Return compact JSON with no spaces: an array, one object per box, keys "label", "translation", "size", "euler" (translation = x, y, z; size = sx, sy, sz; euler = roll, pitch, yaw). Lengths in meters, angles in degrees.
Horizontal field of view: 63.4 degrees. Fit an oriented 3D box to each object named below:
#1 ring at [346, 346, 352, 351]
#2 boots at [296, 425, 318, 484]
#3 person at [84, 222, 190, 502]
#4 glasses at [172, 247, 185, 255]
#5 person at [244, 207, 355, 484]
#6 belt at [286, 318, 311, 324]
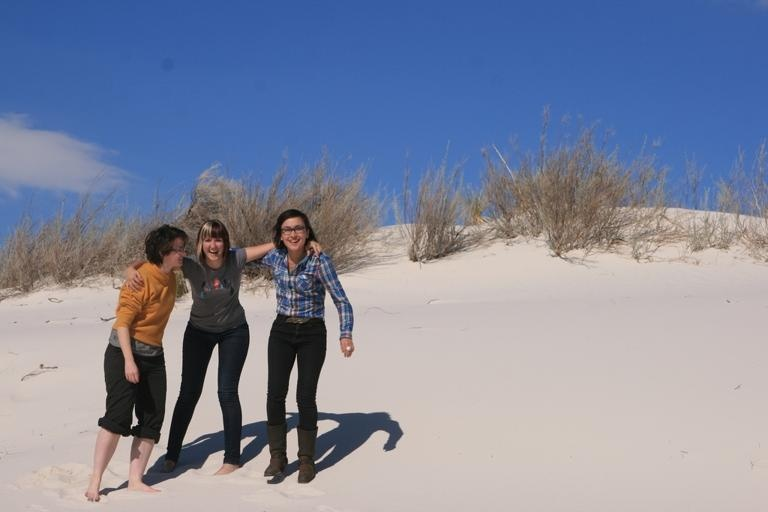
[{"label":"ring","translation":[-0.333,0.911,6.140],"size":[0.035,0.054,0.089],"euler":[0,-3,33]},{"label":"boots","translation":[-0.771,1.981,6.243],"size":[0.178,0.544,0.199],"euler":[1,-2,-5]},{"label":"person","translation":[-2.382,1.003,6.050],"size":[0.853,2.633,0.515],"euler":[1,-2,-12]},{"label":"glasses","translation":[-1.991,-0.053,6.024],"size":[0.064,0.022,0.071],"euler":[2,-31,-6]},{"label":"person","translation":[-0.816,0.899,6.231],"size":[0.871,2.701,0.359],"euler":[1,-2,-5]},{"label":"belt","translation":[-0.851,0.640,6.182],"size":[0.226,0.061,0.027],"euler":[1,-2,10]}]
